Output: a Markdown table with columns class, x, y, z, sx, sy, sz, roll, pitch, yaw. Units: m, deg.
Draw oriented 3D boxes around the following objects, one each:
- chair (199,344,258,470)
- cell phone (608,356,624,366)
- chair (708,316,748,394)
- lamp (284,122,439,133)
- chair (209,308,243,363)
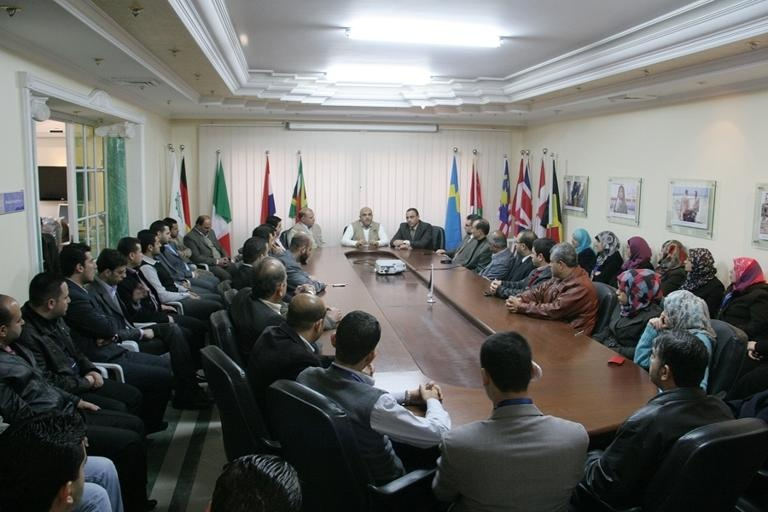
| class | x | y | z | sx | sy | sz | roll | pitch | yaw |
| --- | --- | --- | --- | --- | --- | --- | --- | --- | --- |
| chair | -0.941 | 0.983 | 3.067 | 0.236 | 0.816 | 0.514 | -3 | 8 | -29 |
| cell phone | 1.707 | 0.761 | 3.693 | 0.110 | 0.041 | 0.167 | 4 | 8 | 24 |
| chair | 2.481 | 0.755 | 3.653 | 0.222 | 0.500 | 0.368 | 5 | 8 | 34 |
| lamp | -0.371 | -2.399 | 9.301 | 2.837 | 0.174 | 0.143 | 0 | 7 | -8 |
| chair | -1.167 | 0.603 | 3.792 | 0.340 | 0.378 | 0.261 | -3 | 6 | -20 |
